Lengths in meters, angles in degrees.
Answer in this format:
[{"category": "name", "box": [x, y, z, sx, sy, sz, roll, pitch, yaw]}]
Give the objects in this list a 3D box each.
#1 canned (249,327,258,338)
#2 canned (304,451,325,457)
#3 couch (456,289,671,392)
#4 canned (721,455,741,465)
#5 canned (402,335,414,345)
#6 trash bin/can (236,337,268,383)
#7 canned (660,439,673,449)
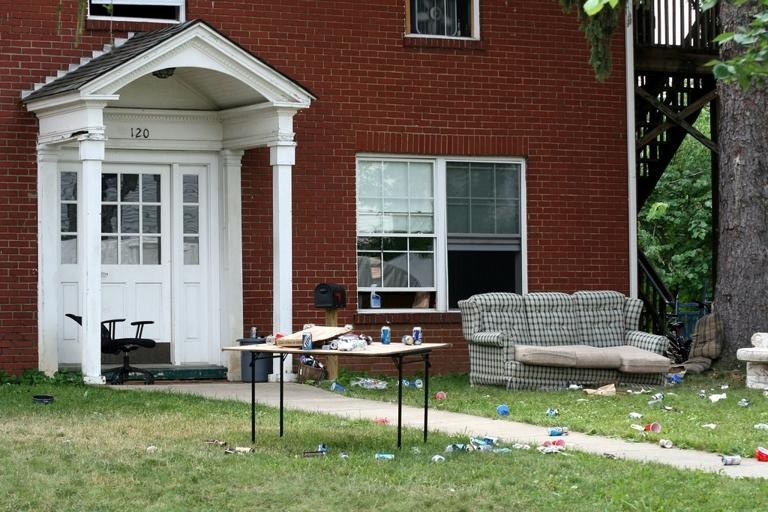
[{"category": "canned", "box": [-2.038, 1.208, 18.789, 0.124, 0.171, 0.179, 2, -6, -9]}, {"category": "canned", "box": [-0.831, 2.308, 13.997, 0.266, 0.049, 0.140, 2, 6, 10]}, {"category": "couch", "box": [2.924, 1.330, 18.969, 3.279, 1.485, 1.652, 2, -1, -21]}, {"category": "canned", "box": [4.028, 2.361, 13.886, 0.238, 0.090, 0.176, 0, 6, -11]}, {"category": "canned", "box": [0.291, 1.023, 14.584, 0.129, 0.120, 0.139, 5, 0, -28]}, {"category": "trash bin/can", "box": [-2.090, 1.606, 19.030, 0.497, 0.591, 0.470, -1, -3, -22]}, {"category": "canned", "box": [3.427, 2.291, 14.561, 0.106, 0.108, 0.157, 2, 7, -23]}]
